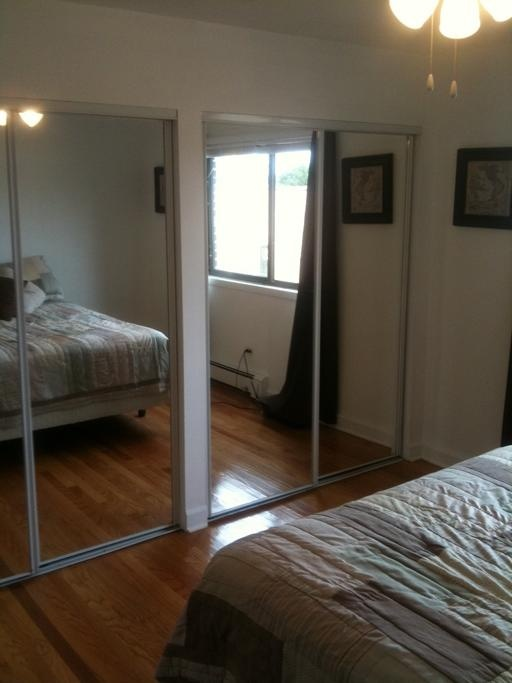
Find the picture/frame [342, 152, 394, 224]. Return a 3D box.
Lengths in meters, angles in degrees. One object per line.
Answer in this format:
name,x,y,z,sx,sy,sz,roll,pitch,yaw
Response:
picture/frame,0.642,-0.916,3.160,0.334,0.489,0.017,-6,10,-25

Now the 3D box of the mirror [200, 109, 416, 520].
mirror,0.249,-0.205,2.972,1.703,2.827,0.048,-7,11,-39

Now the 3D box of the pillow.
pillow,-0.927,-0.214,2.184,0.064,0.247,0.213,22,37,40
